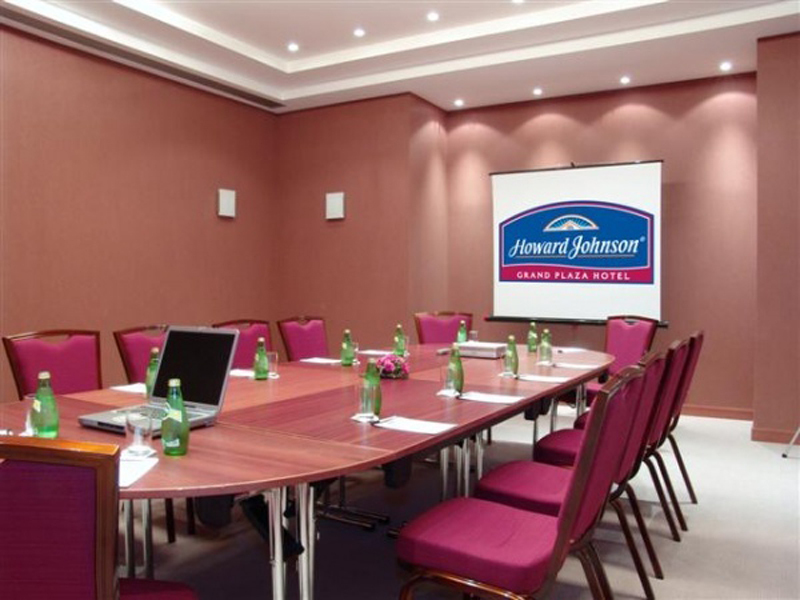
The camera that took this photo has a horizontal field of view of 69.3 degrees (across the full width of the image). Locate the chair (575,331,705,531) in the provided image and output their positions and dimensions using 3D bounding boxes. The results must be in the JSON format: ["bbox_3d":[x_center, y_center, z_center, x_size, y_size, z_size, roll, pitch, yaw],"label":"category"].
[{"bbox_3d":[1.288,0.750,3.414,0.703,1.115,0.629,-5,8,20],"label":"chair"}]

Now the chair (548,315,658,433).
[{"bbox_3d":[1.751,0.664,5.016,0.747,1.070,0.611,2,2,-34],"label":"chair"}]

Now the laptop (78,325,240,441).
[{"bbox_3d":[-0.989,0.331,2.411,0.490,0.343,0.516,1,6,35],"label":"laptop"}]

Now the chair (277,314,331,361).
[{"bbox_3d":[-0.823,0.312,5.015,0.349,0.576,0.403,-1,1,-40],"label":"chair"}]
